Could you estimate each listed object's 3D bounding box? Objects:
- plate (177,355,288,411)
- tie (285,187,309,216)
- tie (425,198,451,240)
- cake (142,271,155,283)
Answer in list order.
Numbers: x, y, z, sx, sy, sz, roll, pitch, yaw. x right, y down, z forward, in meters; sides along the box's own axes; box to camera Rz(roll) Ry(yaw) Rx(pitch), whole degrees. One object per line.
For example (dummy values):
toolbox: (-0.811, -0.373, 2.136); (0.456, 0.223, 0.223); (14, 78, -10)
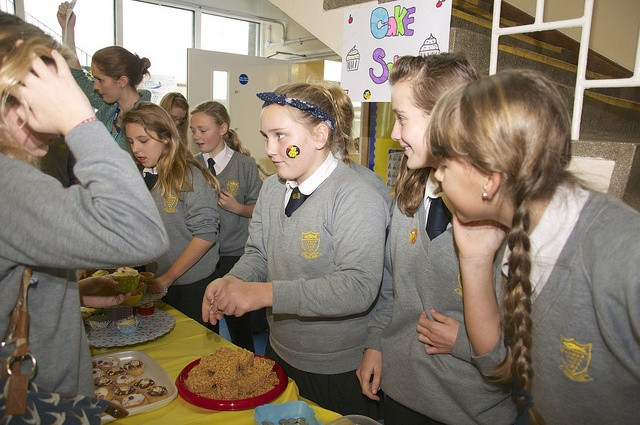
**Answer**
plate: (-0.321, 0.617, 1.459); (0.402, 0.065, 0.217); (-1, 17, -3)
tie: (-0.108, -0.034, 1.769); (0.034, 0.144, 0.075); (12, 21, -46)
tie: (0.441, 0.025, 1.489); (0.087, 0.148, 0.036); (8, -11, 27)
cake: (-0.941, 0.352, 2.187); (0.081, 0.058, 0.081); (1, 0, 2)
